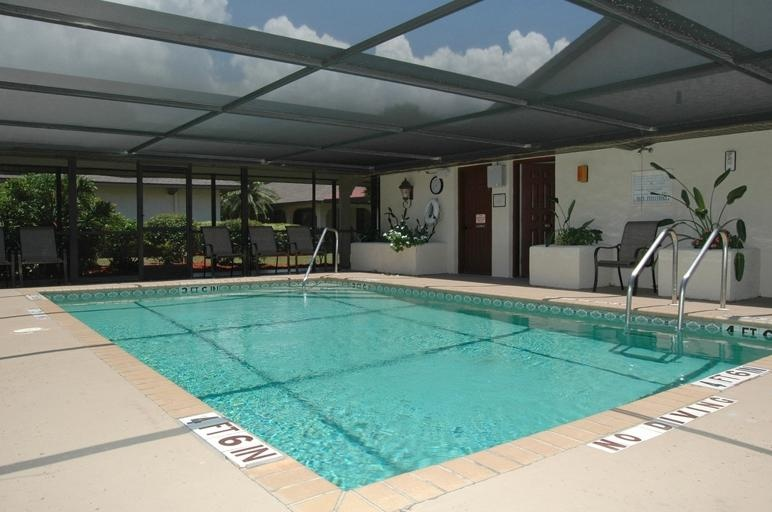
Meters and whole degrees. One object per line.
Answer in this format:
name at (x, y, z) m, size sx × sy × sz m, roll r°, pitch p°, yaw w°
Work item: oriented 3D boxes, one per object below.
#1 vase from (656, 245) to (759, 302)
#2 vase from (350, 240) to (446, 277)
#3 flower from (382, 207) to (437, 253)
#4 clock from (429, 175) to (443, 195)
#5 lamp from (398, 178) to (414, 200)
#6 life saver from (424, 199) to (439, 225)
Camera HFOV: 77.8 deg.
vase at (5.391, 0.308, 7.998) m, size 1.213 × 0.745 × 1.171 m, roll 0°, pitch 0°, yaw -36°
vase at (0.481, 0.079, 12.956) m, size 1.072 × 0.668 × 2.347 m, roll -2°, pitch 3°, yaw -44°
flower at (0.673, -0.680, 12.926) m, size 1.543 × 0.539 × 1.389 m, roll 3°, pitch 15°, yaw 15°
clock at (1.355, -1.947, 12.963) m, size 0.078 × 0.514 × 0.457 m, roll -8°, pitch 11°, yaw -40°
lamp at (0.560, -1.920, 13.624) m, size 0.320 × 0.629 × 0.375 m, roll -5°, pitch 9°, yaw -27°
life saver at (1.258, -1.234, 13.055) m, size 0.138 × 0.684 × 0.443 m, roll -8°, pitch 11°, yaw -40°
